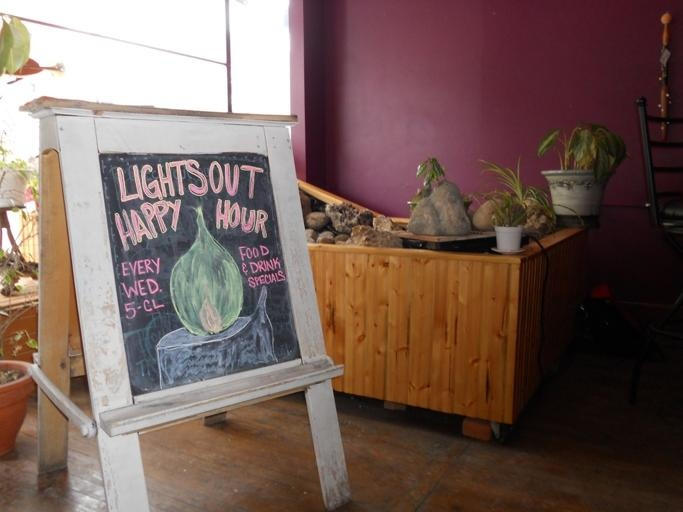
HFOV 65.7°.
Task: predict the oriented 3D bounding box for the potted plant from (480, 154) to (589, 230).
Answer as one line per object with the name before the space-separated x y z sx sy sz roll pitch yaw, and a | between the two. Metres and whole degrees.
potted plant | 1.106 -0.284 2.989 0.701 0.273 0.587 2 1 -9

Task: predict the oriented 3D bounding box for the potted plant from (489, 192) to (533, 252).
potted plant | 0.770 -0.146 2.442 0.143 0.238 0.155 0 0 35

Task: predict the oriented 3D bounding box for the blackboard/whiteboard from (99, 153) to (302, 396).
blackboard/whiteboard | -0.501 0.081 1.802 0.742 0.938 0.021 -9 -3 -29
